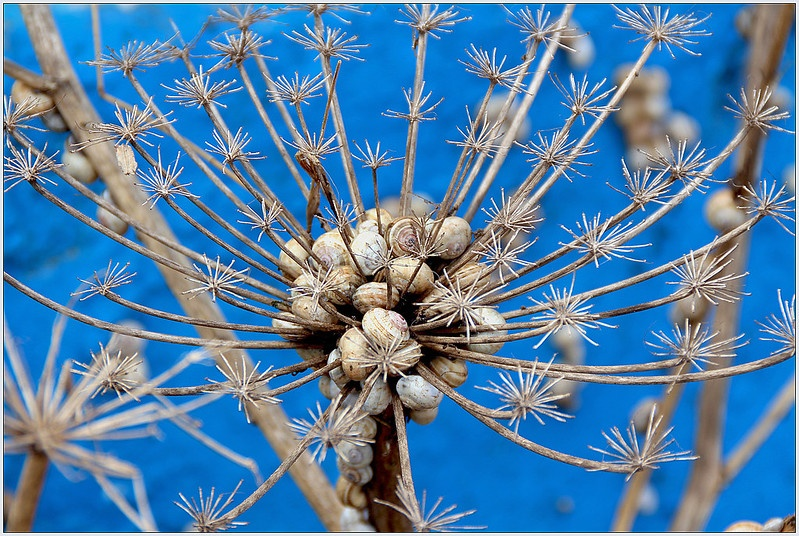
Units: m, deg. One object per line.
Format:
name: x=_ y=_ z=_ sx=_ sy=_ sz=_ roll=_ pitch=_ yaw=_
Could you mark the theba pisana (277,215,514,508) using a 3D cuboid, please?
theba pisana: x=-0.009 y=0.340 z=3.706 sx=0.868 sy=0.794 sz=1.006 roll=-16 pitch=-63 yaw=9
